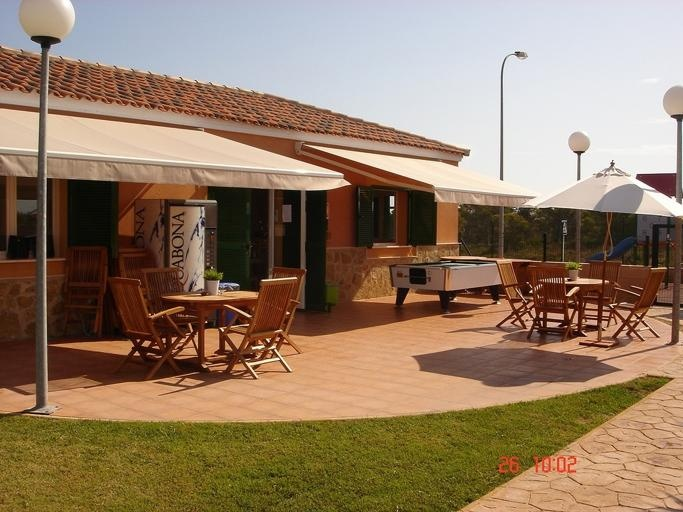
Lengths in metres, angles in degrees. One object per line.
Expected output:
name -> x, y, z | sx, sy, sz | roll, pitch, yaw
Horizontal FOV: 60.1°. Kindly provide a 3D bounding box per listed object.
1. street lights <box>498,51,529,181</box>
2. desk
street lights -> 5.568, -4.569, 19.041 | 0.633, 4.071, 0.959 | -2, 6, -22
desk -> 2.785, 0.708, 14.782 | 1.695, 0.732, 2.630 | 2, 2, 41
